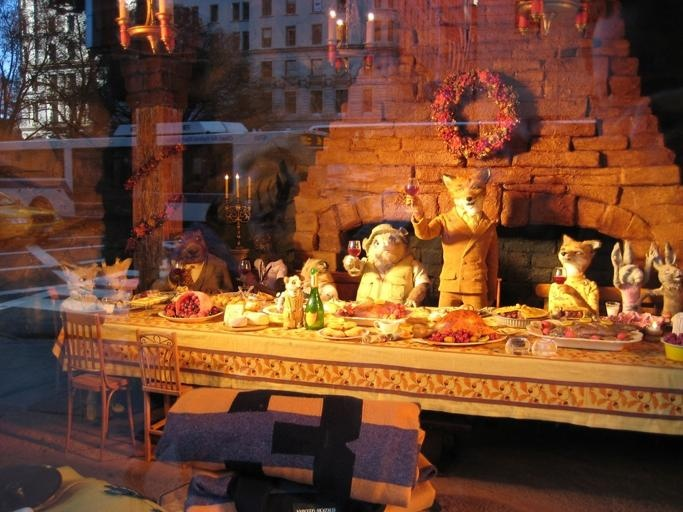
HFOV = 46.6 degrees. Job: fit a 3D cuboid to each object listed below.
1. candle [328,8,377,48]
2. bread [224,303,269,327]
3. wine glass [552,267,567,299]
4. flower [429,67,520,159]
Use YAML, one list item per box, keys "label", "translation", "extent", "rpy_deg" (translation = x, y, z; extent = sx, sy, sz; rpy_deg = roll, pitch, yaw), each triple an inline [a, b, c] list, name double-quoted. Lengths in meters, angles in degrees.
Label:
- label: "candle"
  translation: [0.086, -2.141, 7.471]
  extent: [0.468, 0.368, 0.026]
  rpy_deg: [4, 7, 21]
- label: "bread"
  translation: [-0.673, 0.415, 5.427]
  extent: [0.197, 0.088, 0.192]
  rpy_deg: [-2, 4, -45]
- label: "wine glass"
  translation: [1.490, 0.153, 5.505]
  extent: [0.104, 0.162, 0.104]
  rpy_deg: [1, 1, 8]
- label: "flower"
  translation: [1.178, -1.293, 7.221]
  extent: [0.732, 0.786, 0.274]
  rpy_deg: [4, 8, 19]
